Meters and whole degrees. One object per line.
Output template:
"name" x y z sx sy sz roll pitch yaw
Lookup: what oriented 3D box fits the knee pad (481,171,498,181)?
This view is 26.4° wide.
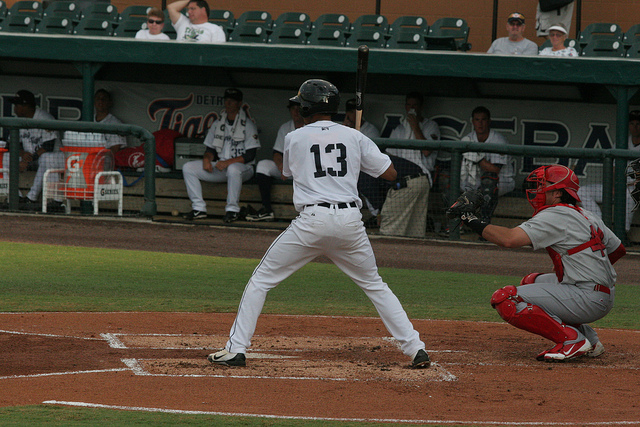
"knee pad" 2.456 -0.552 19.601 0.240 0.134 0.070 2 2 -2

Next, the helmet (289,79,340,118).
"helmet" -0.004 -1.302 15.191 0.595 0.385 0.530 -4 8 -1

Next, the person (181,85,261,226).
"person" -1.433 -0.920 20.307 1.285 1.831 1.267 0 9 14
